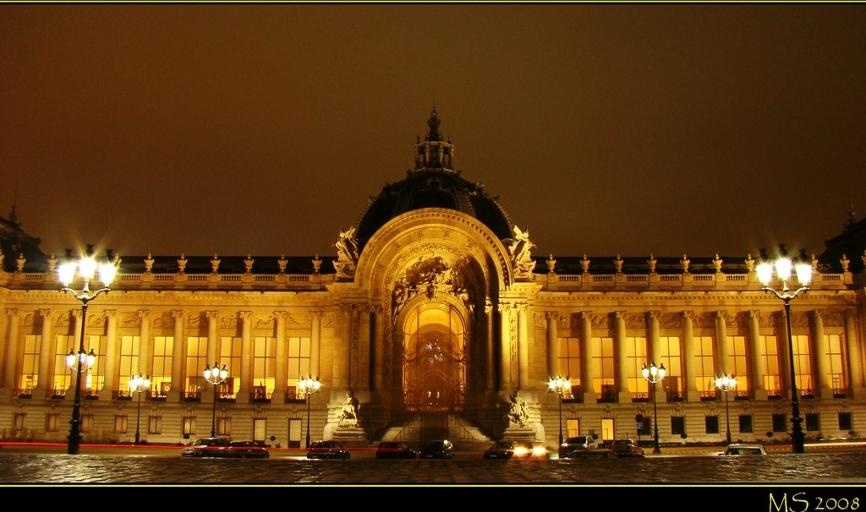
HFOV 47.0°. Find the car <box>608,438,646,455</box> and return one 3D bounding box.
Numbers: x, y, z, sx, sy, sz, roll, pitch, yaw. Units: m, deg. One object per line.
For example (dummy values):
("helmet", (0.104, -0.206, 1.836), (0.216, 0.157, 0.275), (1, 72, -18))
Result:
("car", (12.471, 12.546, 65.032), (1.879, 1.112, 1.783), (1, -16, -6))

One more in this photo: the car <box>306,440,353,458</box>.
("car", (-6.941, 12.728, 65.461), (2.279, 0.930, 1.273), (0, -4, -6))

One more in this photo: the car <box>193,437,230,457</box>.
("car", (-14.492, 12.501, 65.144), (2.297, 1.470, 3.695), (3, -16, -12))

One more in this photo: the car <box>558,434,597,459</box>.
("car", (9.646, 12.967, 67.691), (1.939, 1.337, 2.955), (-11, -27, 16))

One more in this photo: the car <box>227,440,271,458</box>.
("car", (-12.054, 12.459, 64.896), (2.673, 0.977, 1.533), (5, -19, -4))

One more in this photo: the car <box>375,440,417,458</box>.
("car", (-2.566, 12.819, 65.650), (2.374, 1.026, 1.280), (-5, -9, 12))
